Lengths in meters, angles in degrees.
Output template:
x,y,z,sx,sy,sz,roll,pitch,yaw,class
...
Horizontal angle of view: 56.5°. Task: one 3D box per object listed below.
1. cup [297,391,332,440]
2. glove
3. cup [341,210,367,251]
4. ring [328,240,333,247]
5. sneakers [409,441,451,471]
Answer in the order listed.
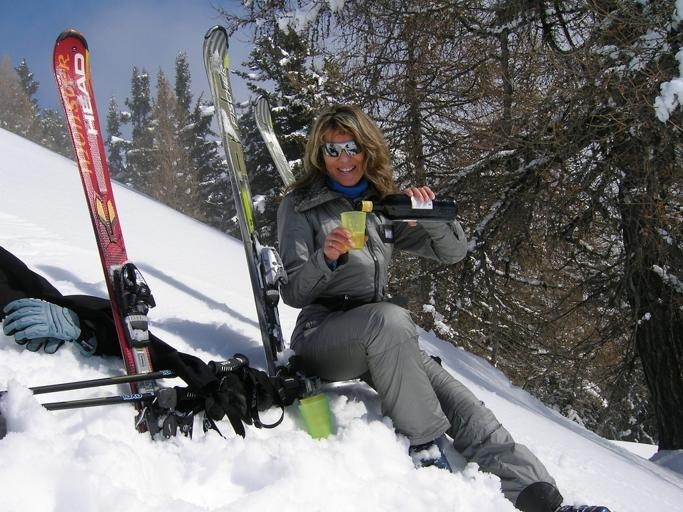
x,y,z,sx,sy,sz,roll,pitch,yaw,class
-0.179,1.024,4.059,0.155,0.256,0.169,-22,-14,-6,cup
-1.911,0.460,4.025,0.403,0.175,0.308,11,40,-46,glove
0.085,-0.156,4.069,0.153,0.253,0.106,-8,13,-20,cup
-0.075,-0.077,4.081,0.021,0.032,0.009,3,39,-9,ring
0.549,1.256,3.964,0.235,0.158,0.140,-7,13,-12,sneakers
